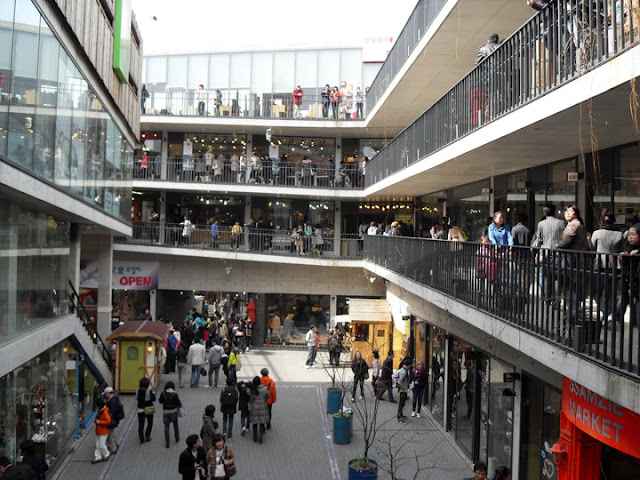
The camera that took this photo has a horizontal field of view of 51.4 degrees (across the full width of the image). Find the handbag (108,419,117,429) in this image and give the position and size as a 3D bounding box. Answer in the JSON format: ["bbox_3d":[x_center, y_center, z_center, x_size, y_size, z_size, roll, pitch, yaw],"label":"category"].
[{"bbox_3d":[-5.632,5.012,18.076,0.226,0.344,0.329,0,-1,-22],"label":"handbag"}]

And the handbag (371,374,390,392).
[{"bbox_3d":[2.055,4.847,22.313,0.559,0.519,0.546,0,2,7],"label":"handbag"}]

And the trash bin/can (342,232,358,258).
[{"bbox_3d":[1.410,0.392,31.665,0.866,0.926,0.417,0,-1,4],"label":"trash bin/can"}]

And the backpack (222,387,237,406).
[{"bbox_3d":[-2.598,4.497,19.063,0.412,0.574,0.297,3,1,-7],"label":"backpack"}]

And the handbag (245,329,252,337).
[{"bbox_3d":[-3.380,4.358,31.234,0.188,0.324,0.357,-17,-20,30],"label":"handbag"}]

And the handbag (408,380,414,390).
[{"bbox_3d":[3.004,4.794,21.866,0.066,0.225,0.145,17,-8,-19],"label":"handbag"}]

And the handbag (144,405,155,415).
[{"bbox_3d":[-4.852,4.855,18.914,0.254,0.229,0.228,-15,14,-34],"label":"handbag"}]

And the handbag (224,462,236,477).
[{"bbox_3d":[-2.062,5.268,15.173,0.214,0.442,0.279,-1,5,-20],"label":"handbag"}]

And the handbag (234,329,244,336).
[{"bbox_3d":[-3.613,4.115,29.478,0.449,0.260,0.682,0,1,-5],"label":"handbag"}]

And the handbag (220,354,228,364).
[{"bbox_3d":[-3.429,4.286,23.933,0.217,0.502,0.262,2,1,-25],"label":"handbag"}]
